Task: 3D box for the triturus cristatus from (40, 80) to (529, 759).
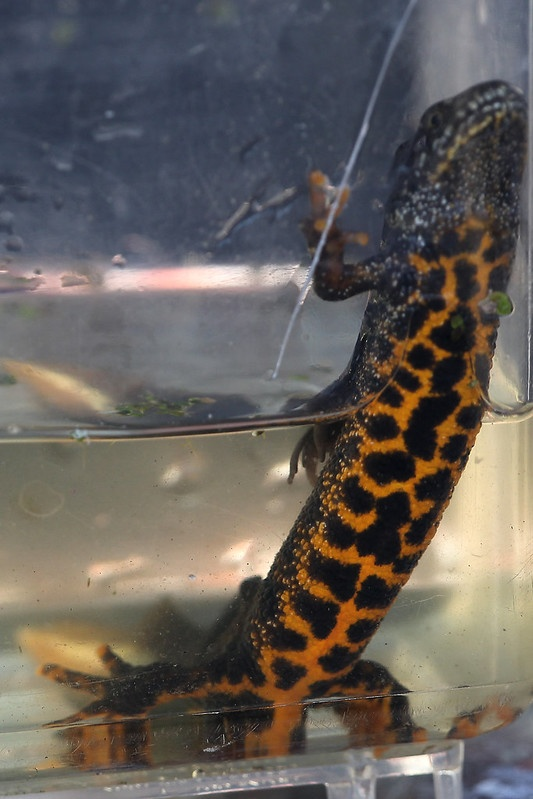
[{"bbox_3d":[0.073,0.013,1.369,0.648,0.805,0.233,7,28,-12],"label":"triturus cristatus"}]
